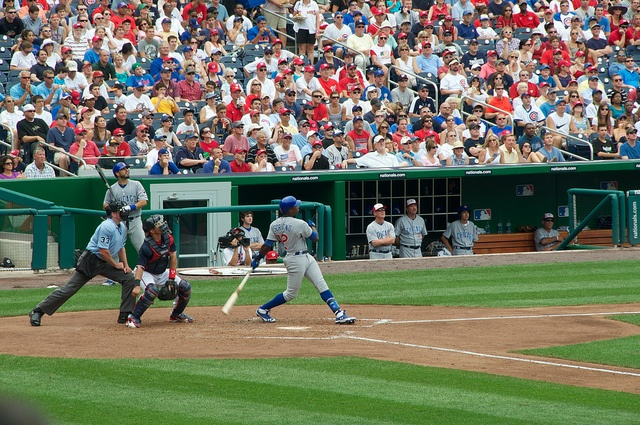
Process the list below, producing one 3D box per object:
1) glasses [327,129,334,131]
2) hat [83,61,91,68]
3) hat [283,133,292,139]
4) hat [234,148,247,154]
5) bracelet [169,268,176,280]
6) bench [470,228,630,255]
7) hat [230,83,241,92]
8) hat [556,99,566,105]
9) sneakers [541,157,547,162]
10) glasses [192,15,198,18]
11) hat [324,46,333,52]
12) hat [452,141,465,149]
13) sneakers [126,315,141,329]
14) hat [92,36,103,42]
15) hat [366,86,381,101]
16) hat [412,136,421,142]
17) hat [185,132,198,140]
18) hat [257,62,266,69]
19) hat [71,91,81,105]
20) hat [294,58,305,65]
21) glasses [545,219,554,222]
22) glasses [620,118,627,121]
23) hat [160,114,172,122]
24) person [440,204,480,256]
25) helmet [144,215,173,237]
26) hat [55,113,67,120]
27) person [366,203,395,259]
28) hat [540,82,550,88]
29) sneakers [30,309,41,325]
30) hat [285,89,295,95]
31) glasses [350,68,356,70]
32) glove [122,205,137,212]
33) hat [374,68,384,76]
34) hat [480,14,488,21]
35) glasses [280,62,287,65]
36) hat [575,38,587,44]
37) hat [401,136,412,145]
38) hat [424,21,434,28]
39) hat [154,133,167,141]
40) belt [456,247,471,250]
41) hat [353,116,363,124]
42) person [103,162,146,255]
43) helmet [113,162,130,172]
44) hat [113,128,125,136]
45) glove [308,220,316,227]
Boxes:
[{"bbox_3d":[0.323,-2.261,33.793,0.079,0.055,0.126,3,3,-12],"label":"glasses"},{"bbox_3d":[-6.438,-4.121,34.241,0.223,0.247,0.390,1,-2,-11],"label":"hat"},{"bbox_3d":[-0.874,-2.056,33.247,0.231,0.166,0.195,1,-2,-9],"label":"hat"},{"bbox_3d":[-2.074,-1.601,32.362,0.290,0.171,0.264,2,-3,-19],"label":"hat"},{"bbox_3d":[-3.044,1.300,25.633,0.138,0.236,0.140,2,-2,-16],"label":"bracelet"},{"bbox_3d":[6.302,0.873,35.669,3.707,0.733,1.055,1,-2,7],"label":"bench"},{"bbox_3d":[-2.328,-3.465,34.346,0.297,0.348,0.674,1,-2,-4],"label":"hat"},{"bbox_3d":[7.129,-3.265,36.615,0.241,0.109,0.336,4,2,5],"label":"hat"},{"bbox_3d":[6.412,-1.484,35.276,0.123,0.179,0.396,1,-2,10],"label":"sneakers"},{"bbox_3d":[-3.838,-6.019,37.799,0.116,0.116,0.034,4,4,-13],"label":"glasses"},{"bbox_3d":[0.253,-4.922,37.106,0.211,0.160,0.337,1,13,-1],"label":"hat"},{"bbox_3d":[3.861,-1.876,34.511,0.327,0.235,0.272,1,-2,-4],"label":"hat"},{"bbox_3d":[-3.864,2.305,25.562,0.308,0.214,0.159,0,-2,13],"label":"sneakers"},{"bbox_3d":[-6.237,-4.893,34.638,0.241,0.239,0.225,0,-3,25],"label":"hat"},{"bbox_3d":[1.501,-3.402,35.458,0.317,0.249,0.402,-1,1,-7],"label":"hat"},{"bbox_3d":[2.658,-2.019,34.077,0.282,0.185,0.331,1,-2,2],"label":"hat"},{"bbox_3d":[-3.361,-2.006,32.395,0.235,0.111,0.355,-1,-5,-22],"label":"hat"},{"bbox_3d":[-1.719,-4.209,35.314,0.226,0.159,0.359,3,7,-5],"label":"hat"},{"bbox_3d":[-6.534,-3.084,33.224,0.349,0.192,0.263,32,38,12],"label":"hat"},{"bbox_3d":[-0.613,-4.397,36.024,0.409,0.187,0.256,13,12,41],"label":"hat"},{"bbox_3d":[6.729,0.274,36.091,0.134,0.075,0.425,0,-3,27],"label":"glasses"},{"bbox_3d":[8.882,-2.745,36.244,0.149,0.104,0.241,2,-1,9],"label":"glasses"},{"bbox_3d":[-4.038,-2.485,32.443,0.175,0.149,0.279,-9,3,-31],"label":"hat"},{"bbox_3d":[3.907,0.528,34.609,0.976,1.366,0.517,1,-2,6],"label":"person"},{"bbox_3d":[-3.361,0.287,25.521,0.471,0.402,0.363,-29,8,5],"label":"helmet"},{"bbox_3d":[-6.658,-2.488,31.927,0.262,0.189,0.283,2,-2,-16],"label":"hat"},{"bbox_3d":[1.624,0.536,32.955,0.719,1.476,0.755,1,-2,6],"label":"person"},{"bbox_3d":[6.817,-3.883,37.544,0.259,0.116,0.365,1,-1,-4],"label":"hat"},{"bbox_3d":[-5.901,2.228,25.721,0.239,0.327,0.188,2,-2,-16],"label":"sneakers"},{"bbox_3d":[-0.847,-3.385,34.810,0.262,0.223,0.352,1,-2,-2],"label":"hat"},{"bbox_3d":[0.976,-4.232,36.348,0.087,0.062,0.137,2,10,-10],"label":"glasses"},{"bbox_3d":[-4.011,-0.064,26.069,0.256,0.115,0.345,-1,1,30],"label":"glove"},{"bbox_3d":[1.711,-4.104,36.072,0.291,0.203,0.464,0,-3,-1],"label":"hat"},{"bbox_3d":[5.315,-6.363,40.200,0.283,0.202,0.455,0,-1,-2],"label":"hat"},{"bbox_3d":[-1.057,-4.345,35.916,0.123,0.086,0.196,1,-4,-4],"label":"glasses"},{"bbox_3d":[8.504,-5.609,40.228,0.267,0.135,0.163,14,-5,-14],"label":"hat"},{"bbox_3d":[2.363,-1.970,33.972,0.270,0.230,0.288,0,-3,32],"label":"hat"},{"bbox_3d":[3.473,-6.044,39.350,0.208,0.289,0.293,0,8,1],"label":"hat"},{"bbox_3d":[-4.153,-1.937,31.938,0.219,0.156,0.350,0,-3,-32],"label":"hat"},{"bbox_3d":[4.012,1.024,34.599,0.467,0.085,0.098,2,-2,-17],"label":"belt"},{"bbox_3d":[1.046,-2.551,34.090,0.261,0.243,0.330,1,-2,-3],"label":"hat"},{"bbox_3d":[-4.684,0.184,29.697,1.124,2.589,0.842,0,14,2],"label":"person"},{"bbox_3d":[-4.784,-1.064,29.369,0.358,0.190,0.263,-22,-3,14],"label":"helmet"},{"bbox_3d":[-5.186,-2.079,31.896,0.269,0.237,0.479,1,-2,-11],"label":"hat"},{"bbox_3d":[-0.204,0.292,30.656,0.160,0.123,0.116,10,15,-14],"label":"glove"}]
